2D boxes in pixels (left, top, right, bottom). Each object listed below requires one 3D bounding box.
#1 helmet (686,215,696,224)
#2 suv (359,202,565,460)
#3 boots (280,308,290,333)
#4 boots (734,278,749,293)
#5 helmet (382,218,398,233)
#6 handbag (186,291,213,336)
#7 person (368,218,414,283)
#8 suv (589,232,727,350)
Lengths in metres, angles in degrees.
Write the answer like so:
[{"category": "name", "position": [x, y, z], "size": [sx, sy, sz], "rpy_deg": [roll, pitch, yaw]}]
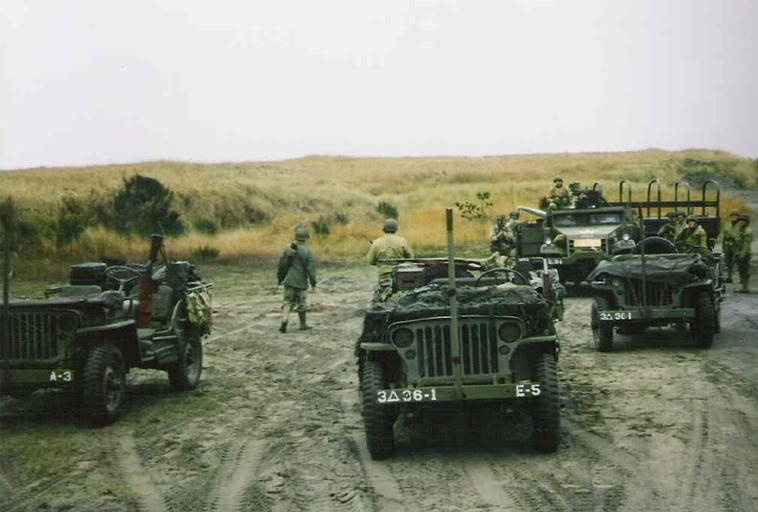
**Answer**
[{"category": "helmet", "position": [6.888, -0.799, 20.653], "size": [0.169, 0.164, 0.171], "rpy_deg": [1, 8, 0]}, {"category": "suv", "position": [1.148, 0.895, 14.233], "size": [2.847, 3.044, 5.218], "rpy_deg": [-4, 11, 2]}, {"category": "boots", "position": [-1.909, 1.321, 18.943], "size": [0.154, 0.423, 0.394], "rpy_deg": [6, 29, -1]}, {"category": "boots", "position": [8.786, 0.734, 22.723], "size": [0.213, 0.375, 0.211], "rpy_deg": [5, 42, 16]}, {"category": "helmet", "position": [0.189, -0.522, 16.431], "size": [0.232, 0.274, 0.267], "rpy_deg": [2, 12, 6]}, {"category": "handbag", "position": [-2.923, 0.898, 14.892], "size": [0.173, 0.544, 0.530], "rpy_deg": [-14, -3, 31]}, {"category": "person", "position": [0.170, 0.074, 16.880], "size": [0.770, 1.552, 0.613], "rpy_deg": [-6, 27, -15]}, {"category": "suv", "position": [5.218, 0.418, 17.878], "size": [2.148, 1.975, 3.941], "rpy_deg": [-2, 8, 23]}]
